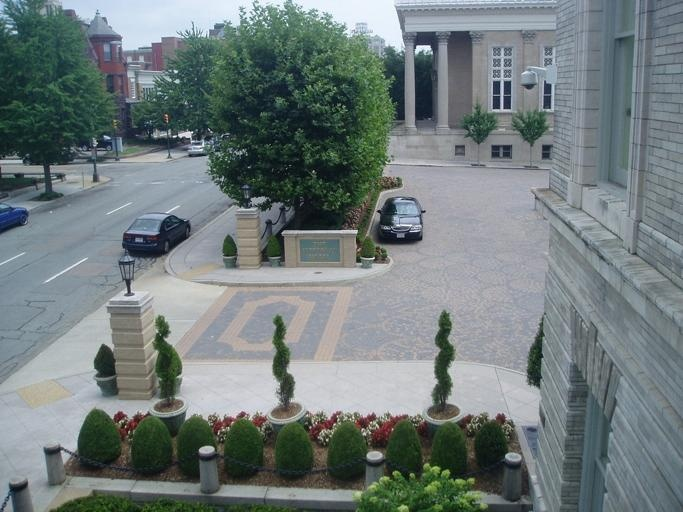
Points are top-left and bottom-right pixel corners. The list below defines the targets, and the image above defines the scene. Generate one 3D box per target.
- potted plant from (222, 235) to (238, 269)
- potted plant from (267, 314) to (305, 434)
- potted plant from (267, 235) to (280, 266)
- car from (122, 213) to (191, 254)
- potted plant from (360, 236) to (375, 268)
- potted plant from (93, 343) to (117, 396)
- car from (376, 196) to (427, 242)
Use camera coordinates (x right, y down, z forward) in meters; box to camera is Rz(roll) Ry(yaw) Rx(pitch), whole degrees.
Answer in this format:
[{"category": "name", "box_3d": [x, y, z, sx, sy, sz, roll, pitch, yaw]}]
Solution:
[{"category": "potted plant", "box_3d": [-4.628, -0.160, 26.089, 0.570, 1.273, 0.571, -5, 15, -11]}, {"category": "potted plant", "box_3d": [-1.180, 2.386, 12.923, 0.733, 2.603, 0.901, 4, 15, 22]}, {"category": "potted plant", "box_3d": [-2.795, -0.164, 25.895, 0.507, 1.292, 0.428, -2, 14, -1]}, {"category": "car", "box_3d": [-8.626, -1.079, 29.478, 1.495, 1.618, 3.202, 4, 17, 21]}, {"category": "potted plant", "box_3d": [1.053, -0.157, 25.146, 0.593, 1.272, 0.721, -1, 14, 1]}, {"category": "potted plant", "box_3d": [-5.765, 2.869, 15.385, 0.586, 1.291, 0.411, -4, 14, -8]}, {"category": "car", "box_3d": [2.832, -1.610, 29.621, 1.976, 1.541, 2.524, 1, 16, 10]}]
